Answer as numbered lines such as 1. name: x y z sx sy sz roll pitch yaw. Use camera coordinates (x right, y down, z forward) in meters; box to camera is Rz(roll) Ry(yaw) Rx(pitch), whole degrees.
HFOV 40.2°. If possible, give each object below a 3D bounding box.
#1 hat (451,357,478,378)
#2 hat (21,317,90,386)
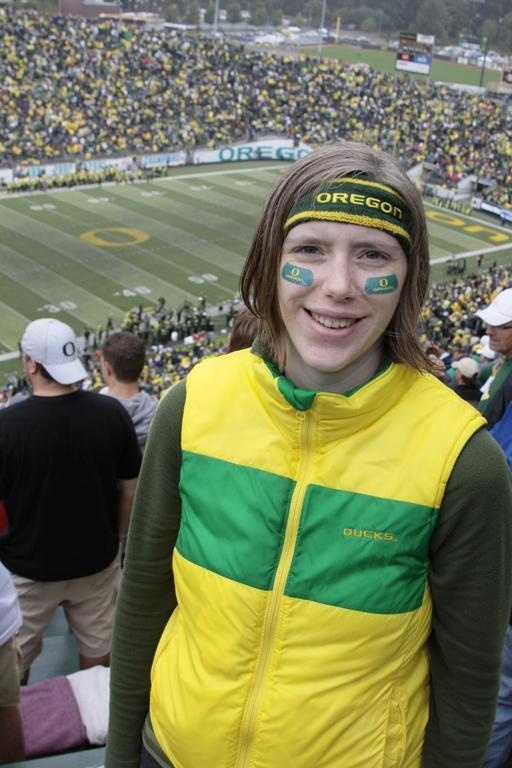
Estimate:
1. hat: 1.860 -0.172 6.241 0.164 0.133 0.227 -1 39 -9
2. hat: -0.851 -0.178 3.034 0.342 0.174 0.222 41 41 23
